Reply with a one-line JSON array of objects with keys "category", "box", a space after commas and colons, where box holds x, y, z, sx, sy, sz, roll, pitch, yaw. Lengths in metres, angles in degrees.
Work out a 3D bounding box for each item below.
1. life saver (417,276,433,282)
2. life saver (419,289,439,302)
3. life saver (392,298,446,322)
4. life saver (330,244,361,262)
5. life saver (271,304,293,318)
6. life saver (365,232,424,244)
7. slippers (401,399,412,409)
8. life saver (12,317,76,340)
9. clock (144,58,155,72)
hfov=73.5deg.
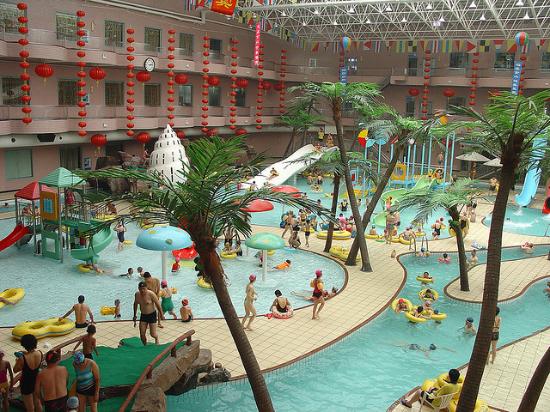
[{"category": "life saver", "box": [5.967, 2.904, 14.572, 0.340, 0.071, 0.303, -2, 7, -19]}, {"category": "life saver", "box": [5.442, 3.166, 13.109, 0.611, 0.153, 0.530, 4, 19, 17]}, {"category": "life saver", "box": [4.695, 3.457, 12.174, 1.541, 0.395, 1.395, -3, 7, -23]}, {"category": "life saver", "box": [3.098, 2.097, 16.702, 0.852, 0.241, 0.877, 13, 14, 41]}, {"category": "life saver", "box": [0.218, 3.288, 11.443, 0.642, 0.293, 0.387, -1, 8, -6]}, {"category": "life saver", "box": [6.021, 1.672, 18.943, 2.022, 0.280, 1.057, -1, 4, 6]}, {"category": "slippers", "box": [2.781, 4.176, 7.815, 0.181, 0.063, 0.101, 26, 45, 36]}, {"category": "life saver", "box": [-6.117, 3.268, 9.839, 1.443, 0.341, 0.771, -4, 8, -24]}, {"category": "clock", "box": [-8.469, -9.629, 25.110, 0.853, 1.001, 0.337, -8, 12, -41]}]
